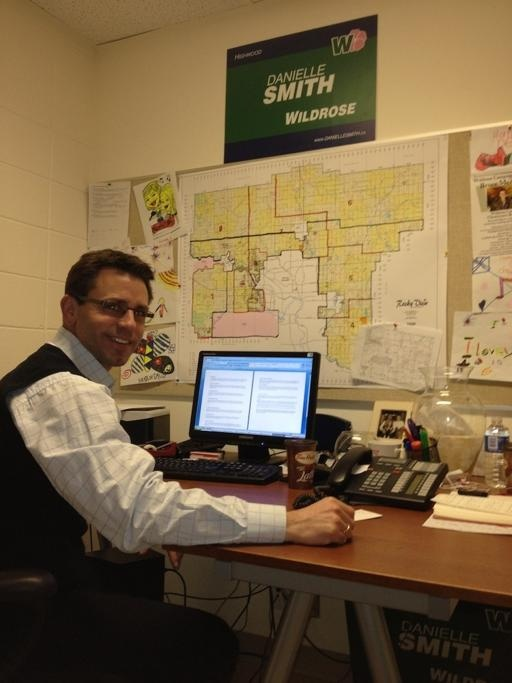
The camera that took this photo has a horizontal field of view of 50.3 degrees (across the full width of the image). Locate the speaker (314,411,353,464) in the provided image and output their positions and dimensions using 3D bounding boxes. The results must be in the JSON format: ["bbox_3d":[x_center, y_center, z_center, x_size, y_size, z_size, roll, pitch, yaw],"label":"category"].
[{"bbox_3d":[0.234,0.317,1.826,0.132,0.157,0.147,-7,-17,31],"label":"speaker"}]

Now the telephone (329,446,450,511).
[{"bbox_3d":[0.315,0.320,1.305,0.253,0.073,0.233,3,13,39],"label":"telephone"}]

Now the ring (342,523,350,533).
[{"bbox_3d":[0.163,0.337,0.985,0.005,0.013,0.011,3,-29,28],"label":"ring"}]
